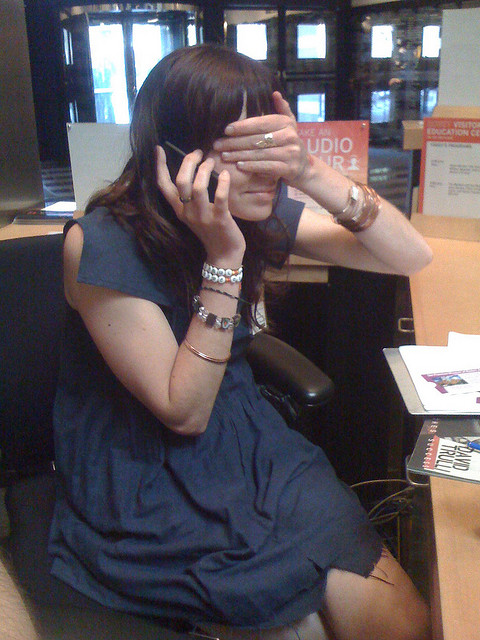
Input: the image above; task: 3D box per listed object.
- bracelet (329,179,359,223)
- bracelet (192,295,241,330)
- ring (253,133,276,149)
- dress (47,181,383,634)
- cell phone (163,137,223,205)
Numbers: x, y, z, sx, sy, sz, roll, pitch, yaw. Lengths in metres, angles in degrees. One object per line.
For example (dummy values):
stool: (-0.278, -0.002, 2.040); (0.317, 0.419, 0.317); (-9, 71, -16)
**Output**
bracelet: (0.203, -0.226, 1.066); (0.056, 0.079, 0.028); (-2, -5, -6)
bracelet: (-0.038, 0.001, 0.845); (0.062, 0.021, 0.050); (32, 32, -5)
ring: (0.036, -0.272, 0.833); (0.028, 0.029, 0.011); (-17, 28, -5)
dress: (-0.052, 0.187, 0.836); (0.496, 0.327, 0.462); (-8, 24, -22)
cell phone: (-0.078, -0.231, 0.865); (0.097, 0.097, 0.026); (36, 55, 14)
